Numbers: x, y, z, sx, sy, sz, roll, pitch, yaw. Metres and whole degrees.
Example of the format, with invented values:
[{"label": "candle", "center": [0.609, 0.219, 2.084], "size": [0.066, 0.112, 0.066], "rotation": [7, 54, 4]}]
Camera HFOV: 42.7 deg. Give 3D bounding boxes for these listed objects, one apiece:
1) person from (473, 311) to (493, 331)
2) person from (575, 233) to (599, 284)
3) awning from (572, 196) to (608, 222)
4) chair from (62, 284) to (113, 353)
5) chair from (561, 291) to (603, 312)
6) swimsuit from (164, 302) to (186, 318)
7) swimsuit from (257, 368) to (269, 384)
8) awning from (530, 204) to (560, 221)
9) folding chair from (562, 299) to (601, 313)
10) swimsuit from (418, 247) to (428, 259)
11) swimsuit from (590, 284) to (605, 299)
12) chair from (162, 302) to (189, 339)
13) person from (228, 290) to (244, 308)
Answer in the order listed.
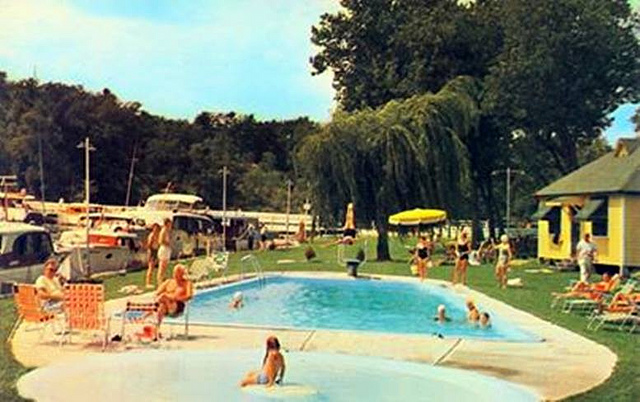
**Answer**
[{"label": "person", "center": [8.945, 6.585, 44.928], "size": [1.010, 0.960, 0.498], "rotation": [-1, -3, 8]}, {"label": "person", "center": [16.032, 3.481, 49.209], "size": [1.247, 3.244, 0.851], "rotation": [3, 22, 23]}, {"label": "awning", "center": [18.011, 0.641, 54.085], "size": [1.721, 1.123, 1.654], "rotation": [-3, -3, -45]}, {"label": "chair", "center": [-12.123, 6.033, 42.628], "size": [2.486, 3.464, 1.512], "rotation": [-1, -3, -8]}, {"label": "chair", "center": [14.754, 5.637, 46.030], "size": [2.177, 1.114, 1.632], "rotation": [-2, -3, 17]}, {"label": "swimsuit", "center": [-7.679, 5.733, 43.531], "size": [0.838, 0.586, 0.747], "rotation": [-14, -11, 37]}, {"label": "swimsuit", "center": [-2.840, 8.773, 40.818], "size": [0.593, 0.622, 0.466], "rotation": [10, -13, -8]}, {"label": "awning", "center": [16.520, 0.817, 59.479], "size": [1.318, 1.259, 2.470], "rotation": [0, -4, -24]}, {"label": "folding chair", "center": [14.649, 5.810, 46.075], "size": [1.619, 0.425, 0.874], "rotation": [-1, -3, 8]}, {"label": "swimsuit", "center": [6.566, 3.270, 51.742], "size": [0.751, 1.014, 0.569], "rotation": [-2, -6, 13]}, {"label": "swimsuit", "center": [15.698, 5.106, 46.337], "size": [0.588, 0.765, 0.937], "rotation": [-3, -4, 37]}, {"label": "chair", "center": [-7.776, 6.941, 43.949], "size": [1.433, 1.332, 2.511], "rotation": [-2, -39, -18]}, {"label": "person", "center": [-4.868, 5.605, 47.819], "size": [0.386, 0.668, 1.278], "rotation": [11, 42, 6]}]
